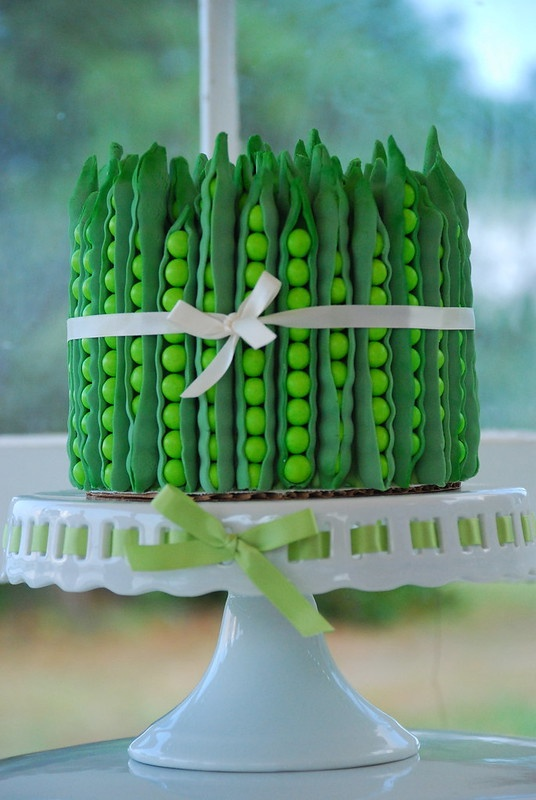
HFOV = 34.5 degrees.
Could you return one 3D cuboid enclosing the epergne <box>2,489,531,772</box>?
[{"bbox_3d":[0.012,0.179,0.643,0.373,0.231,0.294,-5,-8,8],"label":"epergne"}]
